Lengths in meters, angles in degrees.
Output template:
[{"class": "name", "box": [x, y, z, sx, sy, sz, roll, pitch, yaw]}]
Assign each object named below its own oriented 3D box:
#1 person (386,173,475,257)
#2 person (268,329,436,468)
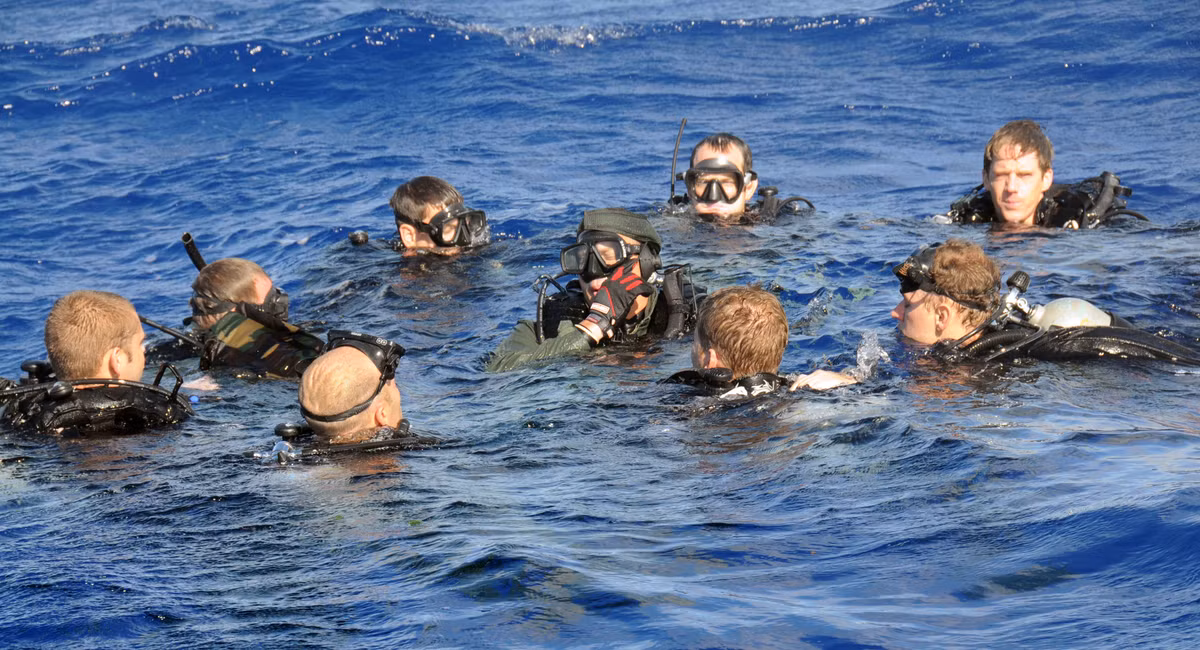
[{"class": "person", "box": [-2.395, -1.600, 23.025, 1.325, 1.053, 1.415, -12, 12, -24]}, {"class": "person", "box": [-2.960, 0.872, 17.834, 1.717, 1.380, 0.936, -2, 23, -9]}]
